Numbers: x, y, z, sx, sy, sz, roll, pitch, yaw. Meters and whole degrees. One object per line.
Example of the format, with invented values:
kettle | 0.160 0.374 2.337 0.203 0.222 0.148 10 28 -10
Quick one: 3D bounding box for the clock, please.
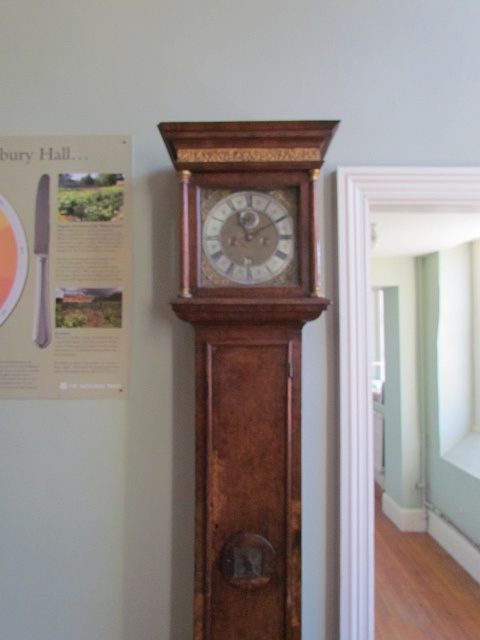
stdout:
clock | 0.019 -0.232 2.099 0.238 0.287 0.022 1 -4 -3
